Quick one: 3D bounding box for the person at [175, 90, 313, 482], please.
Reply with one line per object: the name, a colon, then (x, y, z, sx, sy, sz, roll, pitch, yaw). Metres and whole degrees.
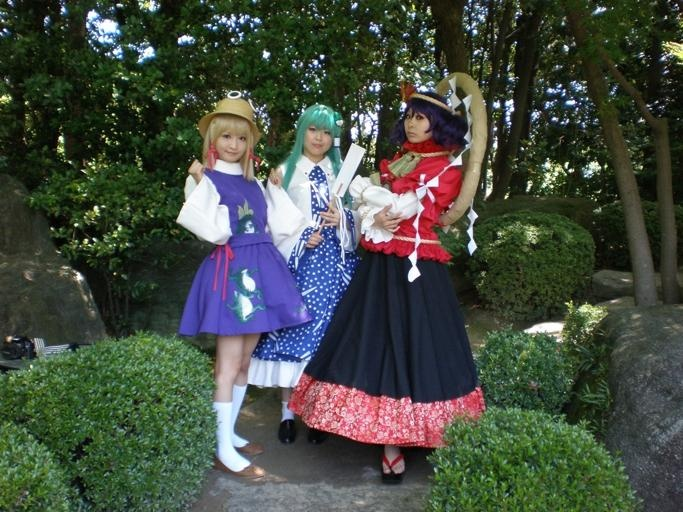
person: (-0.625, 0.144, 3.359, 0.802, 2.372, 0.680, 0, 7, -19)

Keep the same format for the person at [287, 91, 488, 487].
person: (0.372, 0.022, 3.347, 1.137, 2.157, 0.728, 5, 7, 16)

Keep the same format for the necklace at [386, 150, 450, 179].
necklace: (0.464, -0.630, 3.494, 0.235, 0.102, 0.207, -7, 18, -27)

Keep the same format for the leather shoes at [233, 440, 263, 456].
leather shoes: (-0.613, 1.268, 3.536, 0.144, 0.052, 0.087, 5, 9, 2)

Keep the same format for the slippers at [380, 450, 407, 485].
slippers: (0.322, 1.294, 3.297, 0.146, 0.171, 0.158, 4, 7, 6)

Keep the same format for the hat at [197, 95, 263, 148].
hat: (-0.726, -0.943, 3.471, 0.302, 0.188, 0.335, 30, -29, -32)

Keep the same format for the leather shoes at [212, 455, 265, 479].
leather shoes: (-0.666, 1.316, 3.322, 0.337, 0.151, 0.127, 4, 1, 11)
